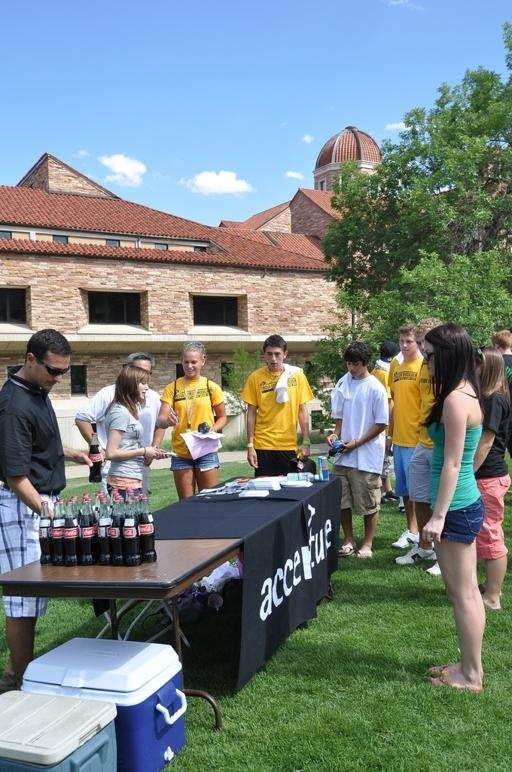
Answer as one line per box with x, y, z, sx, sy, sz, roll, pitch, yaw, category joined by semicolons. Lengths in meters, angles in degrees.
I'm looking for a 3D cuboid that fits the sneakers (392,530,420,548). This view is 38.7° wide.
1.281;1.324;6.234;0.097;0.124;0.291;-10;-13;33;sneakers

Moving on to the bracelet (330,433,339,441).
0.630;0.414;5.913;0.062;0.027;0.078;4;-1;-4;bracelet

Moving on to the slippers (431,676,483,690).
0.947;1.407;3.492;0.188;0.054;0.074;1;-11;40;slippers

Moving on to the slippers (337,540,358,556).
0.758;1.349;6.046;0.205;0.132;0.500;-3;-9;10;slippers

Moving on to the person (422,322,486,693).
0.906;0.579;3.406;0.308;1.735;0.367;-3;2;23;person

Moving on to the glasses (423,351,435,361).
0.822;-0.140;3.448;0.031;0.039;0.036;-3;4;-18;glasses

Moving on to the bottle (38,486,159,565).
-0.678;0.629;3.269;0.381;0.233;0.385;0;0;0;bottle

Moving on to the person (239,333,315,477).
0.181;0.165;6.089;0.594;0.840;0.726;-4;2;-1;person
